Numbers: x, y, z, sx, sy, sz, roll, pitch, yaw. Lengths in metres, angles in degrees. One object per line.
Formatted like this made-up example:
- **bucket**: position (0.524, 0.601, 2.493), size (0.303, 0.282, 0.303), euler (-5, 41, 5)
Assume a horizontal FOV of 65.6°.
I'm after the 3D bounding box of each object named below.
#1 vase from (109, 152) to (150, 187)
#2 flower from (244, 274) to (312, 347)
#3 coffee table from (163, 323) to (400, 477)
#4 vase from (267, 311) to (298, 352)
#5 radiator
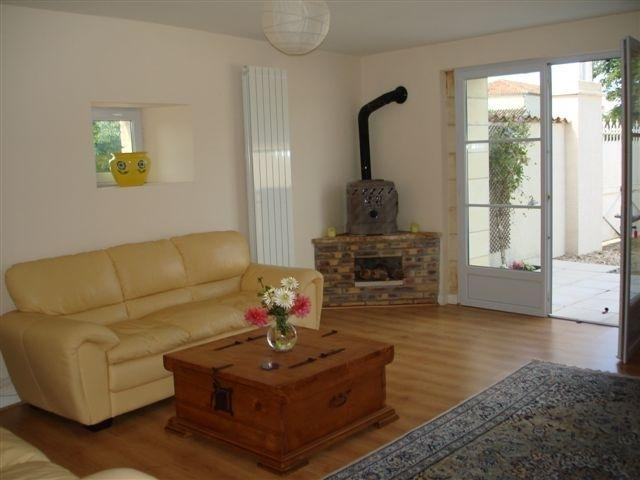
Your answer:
- **vase**: position (-1.852, -0.689, 4.798), size (0.369, 0.310, 0.305), euler (-9, 12, -40)
- **flower**: position (-0.294, 0.474, 3.400), size (0.480, 0.535, 0.484), euler (-2, -1, -11)
- **coffee table**: position (-0.373, 0.950, 3.175), size (0.921, 0.395, 0.924), euler (2, 5, 39)
- **vase**: position (-0.281, 0.614, 3.353), size (0.230, 0.296, 0.229), euler (-1, -1, -15)
- **radiator**: position (-0.525, -0.742, 5.573), size (0.552, 2.275, 0.074), euler (7, 23, 18)
